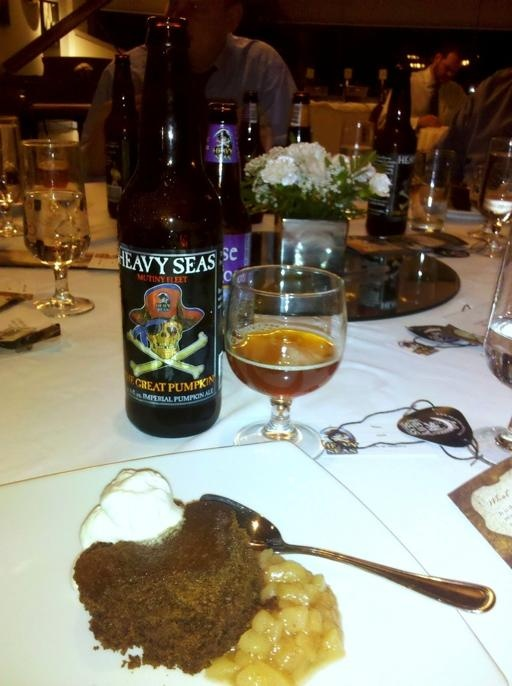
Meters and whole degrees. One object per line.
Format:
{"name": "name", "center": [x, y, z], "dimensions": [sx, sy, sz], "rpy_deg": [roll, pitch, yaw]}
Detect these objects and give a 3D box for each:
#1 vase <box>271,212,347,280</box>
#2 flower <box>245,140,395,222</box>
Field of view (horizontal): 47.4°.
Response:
{"name": "vase", "center": [0.104, -0.171, 1.034], "dimensions": [0.122, 0.099, 0.092], "rpy_deg": [10, 26, 17]}
{"name": "flower", "center": [0.098, -0.240, 1.030], "dimensions": [0.192, 0.109, 0.188], "rpy_deg": [-1, 5, -44]}
